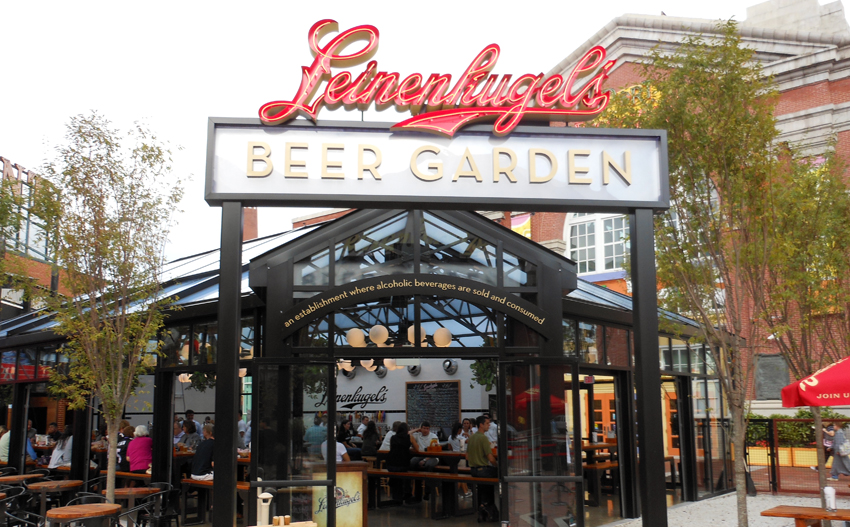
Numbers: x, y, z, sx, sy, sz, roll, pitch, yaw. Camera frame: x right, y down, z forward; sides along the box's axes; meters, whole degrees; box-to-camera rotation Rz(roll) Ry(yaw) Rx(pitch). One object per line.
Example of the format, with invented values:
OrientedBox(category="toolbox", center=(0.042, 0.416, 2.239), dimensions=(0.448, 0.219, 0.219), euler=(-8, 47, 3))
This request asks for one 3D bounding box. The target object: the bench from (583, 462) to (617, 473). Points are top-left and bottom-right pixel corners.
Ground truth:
OrientedBox(category="bench", center=(4.925, 5.644, 22.549), dimensions=(0.677, 0.268, 1.369), euler=(-14, -19, 38))

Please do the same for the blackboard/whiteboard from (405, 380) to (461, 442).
OrientedBox(category="blackboard/whiteboard", center=(0.393, 5.236, 28.701), dimensions=(1.999, 1.601, 0.095), euler=(-7, -20, 39))
